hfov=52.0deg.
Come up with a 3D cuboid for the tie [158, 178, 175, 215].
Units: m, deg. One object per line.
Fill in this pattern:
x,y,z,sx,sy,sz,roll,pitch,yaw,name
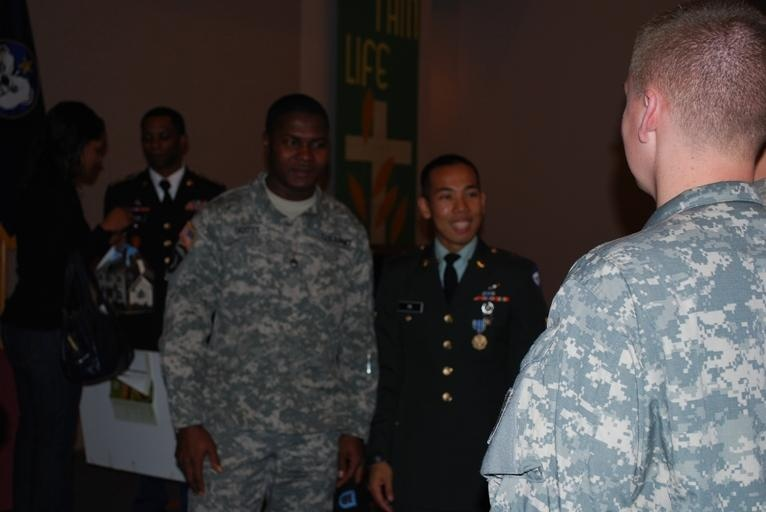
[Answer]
-1.071,-0.296,3.918,0.098,0.136,0.033,-5,8,-25,tie
